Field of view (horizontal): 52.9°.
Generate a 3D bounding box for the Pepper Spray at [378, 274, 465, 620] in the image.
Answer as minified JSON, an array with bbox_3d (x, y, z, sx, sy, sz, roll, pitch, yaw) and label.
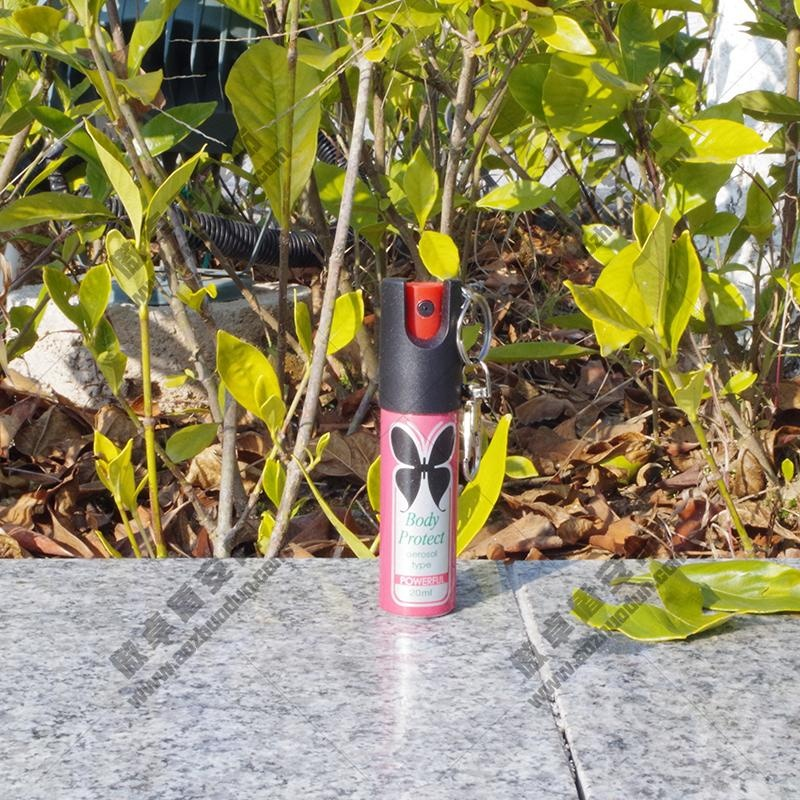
[{"bbox_3d":[0.025,0.065,0.950,0.091,0.408,0.052,1,15,2],"label":"Pepper Spray"}]
